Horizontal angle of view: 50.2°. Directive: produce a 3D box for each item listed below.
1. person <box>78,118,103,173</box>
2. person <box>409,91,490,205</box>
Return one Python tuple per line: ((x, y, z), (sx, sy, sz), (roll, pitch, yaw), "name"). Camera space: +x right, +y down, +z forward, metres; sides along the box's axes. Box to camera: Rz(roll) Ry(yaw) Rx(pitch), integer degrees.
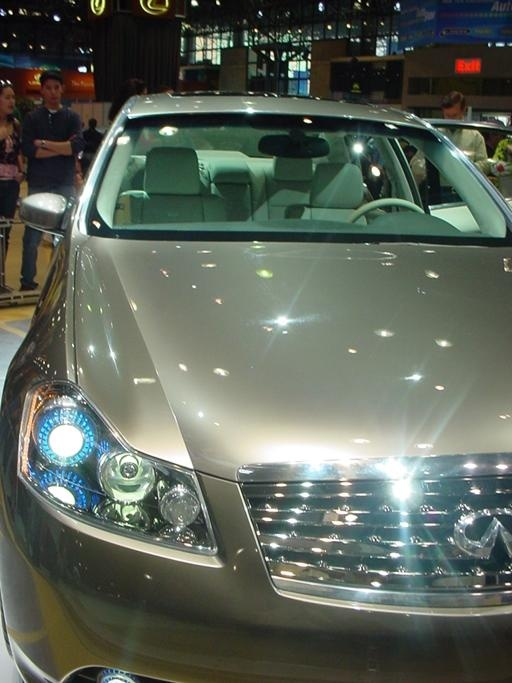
((-2.519, -2.996, 8.369), (0.299, 0.957, 0.281), (7, 0, -7), "person")
((1.856, -1.541, 5.119), (0.648, 1.471, 0.473), (19, 41, 40), "person")
